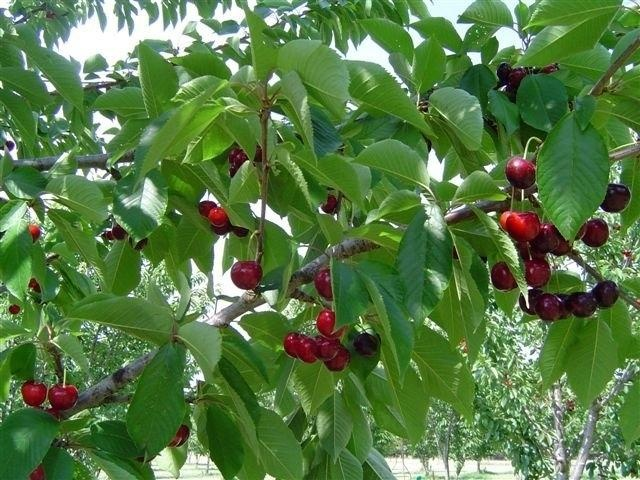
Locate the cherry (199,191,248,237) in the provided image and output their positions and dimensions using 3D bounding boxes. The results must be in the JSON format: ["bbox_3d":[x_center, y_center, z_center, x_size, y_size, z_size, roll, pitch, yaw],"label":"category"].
[{"bbox_3d":[-0.378,-0.078,2.393,0.205,0.133,0.251,-8,-25,32],"label":"cherry"}]

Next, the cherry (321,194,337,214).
[{"bbox_3d":[0.046,-0.149,2.622,0.075,0.090,0.101,-13,-2,-1],"label":"cherry"}]

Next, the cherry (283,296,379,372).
[{"bbox_3d":[0.016,0.410,2.115,0.262,0.114,0.297,7,-50,-2],"label":"cherry"}]

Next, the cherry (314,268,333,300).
[{"bbox_3d":[0.012,0.145,1.925,0.075,0.102,0.081,-6,12,-26],"label":"cherry"}]

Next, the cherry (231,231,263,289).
[{"bbox_3d":[-0.259,0.114,2.041,0.105,0.137,0.106,8,11,11],"label":"cherry"}]

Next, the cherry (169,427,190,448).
[{"bbox_3d":[-0.591,0.833,2.460,0.059,0.088,0.220,7,-21,-4],"label":"cherry"}]
